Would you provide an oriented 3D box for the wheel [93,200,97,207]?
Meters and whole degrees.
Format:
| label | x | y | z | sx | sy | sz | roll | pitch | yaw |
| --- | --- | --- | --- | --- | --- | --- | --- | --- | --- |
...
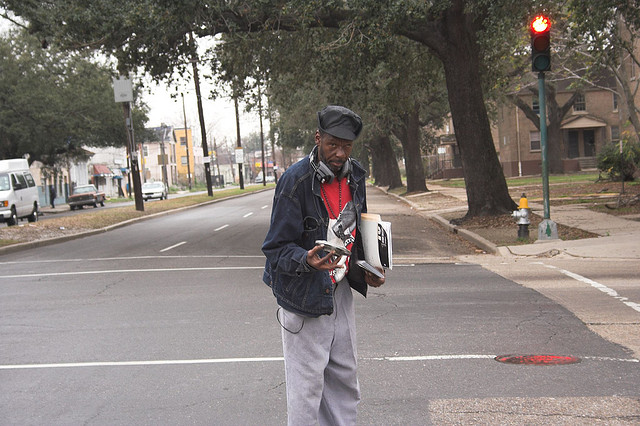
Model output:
| label | x | y | z | sx | sy | sz | roll | pitch | yaw |
| --- | --- | --- | --- | --- | --- | --- | --- | --- | --- |
| wheel | -18.330 | -0.762 | 52.043 | 0.341 | 0.677 | 0.353 | -3 | 3 | 0 |

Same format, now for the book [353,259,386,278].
| label | x | y | z | sx | sy | sz | roll | pitch | yaw |
| --- | --- | --- | --- | --- | --- | --- | --- | --- | --- |
| book | 0.567 | 0.625 | 7.194 | 0.276 | 0.072 | 0.170 | 33 | -4 | 23 |

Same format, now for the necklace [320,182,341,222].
| label | x | y | z | sx | sy | sz | roll | pitch | yaw |
| --- | --- | --- | --- | --- | --- | --- | --- | --- | --- |
| necklace | 0.138 | -0.169 | 7.262 | 0.150 | 0.503 | 0.041 | -6 | -19 | -32 |

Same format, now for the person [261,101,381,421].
| label | x | y | z | sx | sy | sz | roll | pitch | yaw |
| --- | --- | --- | --- | --- | --- | --- | --- | --- | --- |
| person | 0.027 | 0.603 | 7.159 | 1.168 | 3.567 | 0.701 | -5 | 9 | -21 |

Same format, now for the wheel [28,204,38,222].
| label | x | y | z | sx | sy | sz | roll | pitch | yaw |
| --- | --- | --- | --- | --- | --- | --- | --- | --- | --- |
| wheel | -14.941 | -0.031 | 33.152 | 0.436 | 0.849 | 0.784 | -6 | 9 | -23 |

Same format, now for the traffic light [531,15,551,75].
| label | x | y | z | sx | sy | sz | roll | pitch | yaw |
| --- | --- | --- | --- | --- | --- | --- | --- | --- | --- |
| traffic light | 5.793 | -4.446 | 16.678 | 0.482 | 1.517 | 0.448 | 1 | 9 | 16 |

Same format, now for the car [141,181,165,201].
| label | x | y | z | sx | sy | sz | roll | pitch | yaw |
| --- | --- | --- | --- | --- | --- | --- | --- | --- | --- |
| car | -15.611 | -1.953 | 59.961 | 1.932 | 1.659 | 3.258 | -4 | 9 | -14 |

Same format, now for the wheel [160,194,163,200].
| label | x | y | z | sx | sy | sz | roll | pitch | yaw |
| --- | --- | --- | --- | --- | --- | --- | --- | --- | --- |
| wheel | -14.994 | -1.506 | 60.379 | 0.243 | 0.502 | 1.119 | -4 | 9 | -15 |

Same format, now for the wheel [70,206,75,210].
| label | x | y | z | sx | sy | sz | roll | pitch | yaw |
| --- | --- | --- | --- | --- | --- | --- | --- | --- | --- |
| wheel | -19.840 | -0.415 | 51.048 | 0.310 | 0.320 | 0.231 | 1 | 9 | -3 |

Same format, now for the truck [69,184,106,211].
| label | x | y | z | sx | sy | sz | roll | pitch | yaw |
| --- | --- | --- | --- | --- | --- | --- | --- | --- | --- |
| truck | -18.812 | -1.372 | 52.412 | 1.420 | 1.254 | 2.718 | -1 | -3 | 1 |

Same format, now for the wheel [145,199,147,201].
| label | x | y | z | sx | sy | sz | roll | pitch | yaw |
| --- | --- | --- | --- | --- | --- | --- | --- | --- | --- |
| wheel | -16.292 | -1.232 | 59.803 | 0.215 | 0.041 | 1.149 | -5 | 9 | -17 |

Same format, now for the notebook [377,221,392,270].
| label | x | y | z | sx | sy | sz | roll | pitch | yaw |
| --- | --- | --- | --- | --- | --- | --- | --- | --- | --- |
| notebook | 0.735 | 0.375 | 7.182 | 0.140 | 0.568 | 0.305 | -1 | 9 | 3 |

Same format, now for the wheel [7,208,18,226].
| label | x | y | z | sx | sy | sz | roll | pitch | yaw |
| --- | --- | --- | --- | --- | --- | --- | --- | --- | --- |
| wheel | -14.590 | 0.175 | 30.207 | 0.274 | 0.817 | 0.792 | -2 | 1 | 4 |
